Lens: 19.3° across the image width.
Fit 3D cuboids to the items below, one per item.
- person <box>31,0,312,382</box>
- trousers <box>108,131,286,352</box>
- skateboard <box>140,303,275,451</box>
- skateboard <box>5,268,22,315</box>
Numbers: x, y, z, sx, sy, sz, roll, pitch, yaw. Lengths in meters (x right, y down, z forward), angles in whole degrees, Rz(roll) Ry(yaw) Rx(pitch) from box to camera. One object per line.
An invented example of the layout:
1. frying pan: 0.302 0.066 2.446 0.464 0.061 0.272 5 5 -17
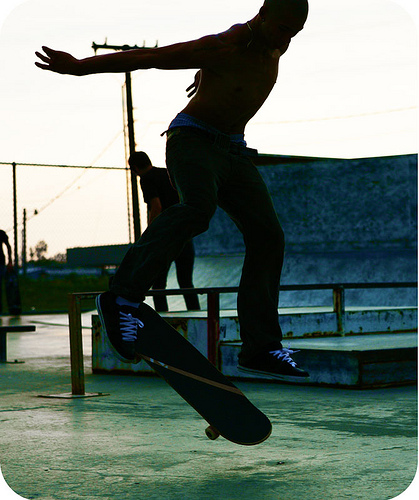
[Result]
1. person: -0.082 -0.243 5.412 0.988 1.686 0.450 -2 2 -21
2. trousers: -0.090 -0.090 5.558 0.630 1.108 0.781 -10 15 -27
3. skateboard: -0.002 0.616 5.736 0.171 0.724 0.107 -43 -3 -18
4. skateboard: -2.511 0.549 15.691 0.189 0.584 0.462 -1 1 -9
